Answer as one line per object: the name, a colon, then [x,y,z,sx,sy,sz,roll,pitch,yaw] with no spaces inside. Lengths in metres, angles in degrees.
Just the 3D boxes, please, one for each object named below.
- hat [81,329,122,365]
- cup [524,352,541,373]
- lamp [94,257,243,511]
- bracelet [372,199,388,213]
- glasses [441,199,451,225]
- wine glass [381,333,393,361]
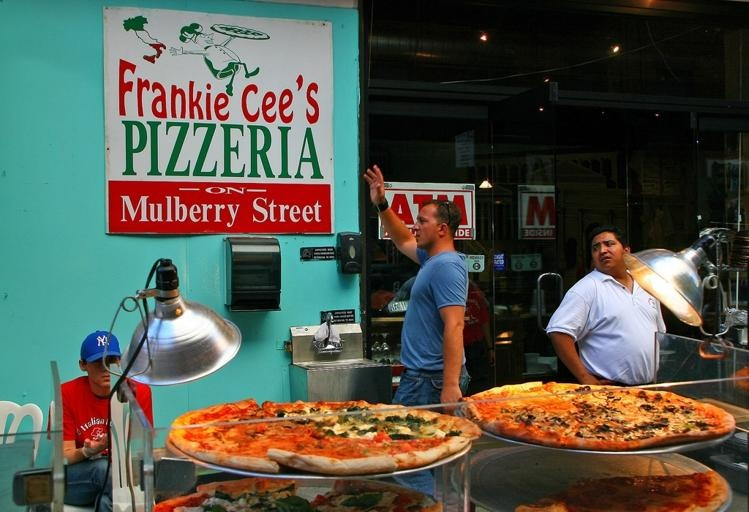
hat: [-1.729,0.584,5.606,0.257,0.221,0.359,3,-11,-31]
cup: [1.336,0.916,7.588,0.142,0.169,0.152,0,-3,0]
lamp: [-0.977,0.592,4.394,0.738,1.104,0.533,-6,14,1]
bracelet: [0.048,-0.360,6.522,0.090,0.076,0.094,1,1,19]
glasses: [0.496,-0.299,6.040,0.052,0.121,0.092,-7,-7,10]
wine glass: [0.093,0.749,7.143,0.161,0.190,0.169,-1,0,-3]
